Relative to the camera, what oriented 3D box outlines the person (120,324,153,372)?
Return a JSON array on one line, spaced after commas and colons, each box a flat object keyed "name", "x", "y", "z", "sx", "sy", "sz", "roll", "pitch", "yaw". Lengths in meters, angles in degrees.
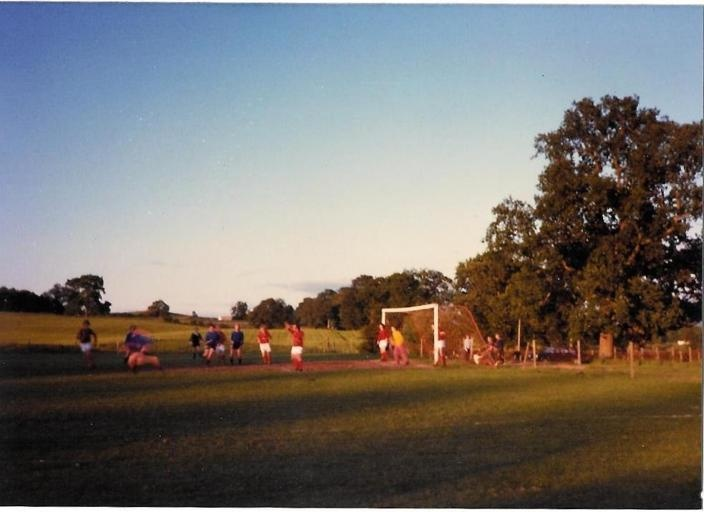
[{"name": "person", "x": -9.433, "y": 4.127, "z": 28.933, "sx": 1.494, "sy": 2.329, "sz": 1.146, "roll": 0, "pitch": 15, "yaw": -19}]
